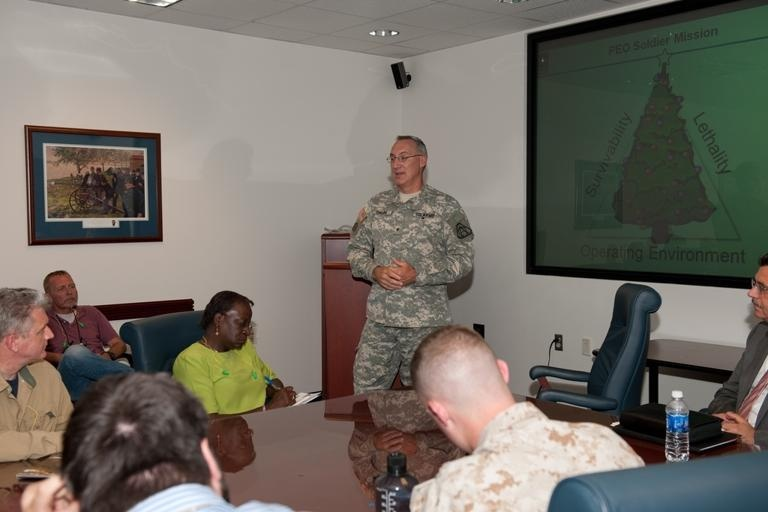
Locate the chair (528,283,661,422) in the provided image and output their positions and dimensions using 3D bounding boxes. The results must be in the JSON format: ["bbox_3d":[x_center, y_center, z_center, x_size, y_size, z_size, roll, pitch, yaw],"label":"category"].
[{"bbox_3d":[1.250,0.705,3.421,0.795,1.083,0.755,2,1,8],"label":"chair"}]

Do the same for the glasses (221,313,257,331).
[{"bbox_3d":[-0.818,0.363,3.032,0.131,0.077,0.098,-3,-4,21],"label":"glasses"}]

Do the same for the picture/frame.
[{"bbox_3d":[-2.410,-0.604,4.480,1.033,0.948,0.070,-1,3,-31],"label":"picture/frame"}]

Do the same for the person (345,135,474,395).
[{"bbox_3d":[0.194,0.074,4.296,0.957,1.994,0.554,1,9,-3],"label":"person"}]

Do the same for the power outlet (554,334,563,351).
[{"bbox_3d":[1.543,0.767,4.854,0.086,0.123,0.032,-1,-3,44],"label":"power outlet"}]

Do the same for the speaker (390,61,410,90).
[{"bbox_3d":[0.176,-1.931,5.862,0.200,0.261,0.196,6,11,29],"label":"speaker"}]
